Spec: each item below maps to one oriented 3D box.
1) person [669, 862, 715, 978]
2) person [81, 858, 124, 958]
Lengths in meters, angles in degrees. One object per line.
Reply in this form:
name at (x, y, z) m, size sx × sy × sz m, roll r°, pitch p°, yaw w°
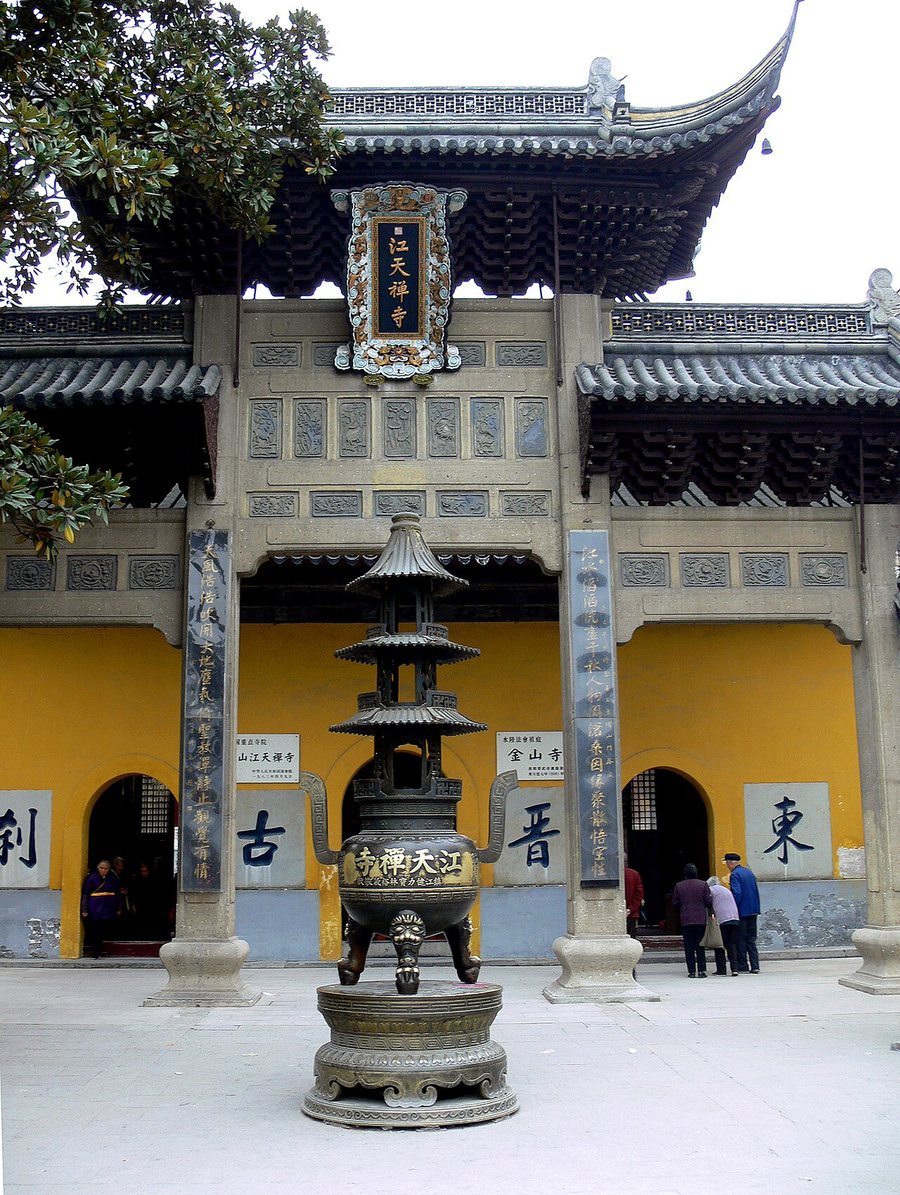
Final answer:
person at (2.190, 2.887, 12.822) m, size 0.338 × 0.960 × 0.747 m, roll -3°, pitch -9°, yaw 8°
person at (-3.461, 3.073, 14.075) m, size 0.328 × 0.936 × 0.677 m, roll 1°, pitch -9°, yaw -16°
